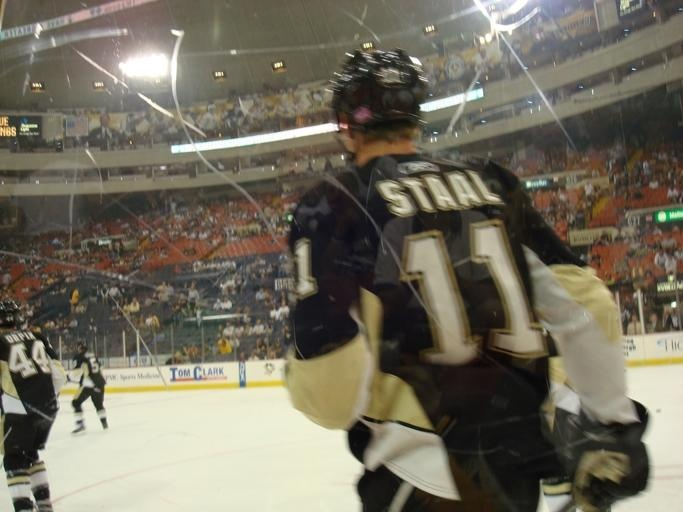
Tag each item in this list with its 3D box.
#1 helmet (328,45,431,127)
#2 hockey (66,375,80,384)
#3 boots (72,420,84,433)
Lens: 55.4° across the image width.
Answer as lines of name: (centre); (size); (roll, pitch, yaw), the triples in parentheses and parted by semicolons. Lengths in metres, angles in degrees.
helmet: (0.115, -0.532, 2.005); (0.256, 0.230, 0.198); (-13, 21, -21)
hockey: (-1.475, 0.679, 3.564); (0.070, 0.020, 0.071); (7, -4, -43)
boots: (-1.955, 1.274, 4.817); (0.102, 0.119, 0.058); (-3, -15, 17)
